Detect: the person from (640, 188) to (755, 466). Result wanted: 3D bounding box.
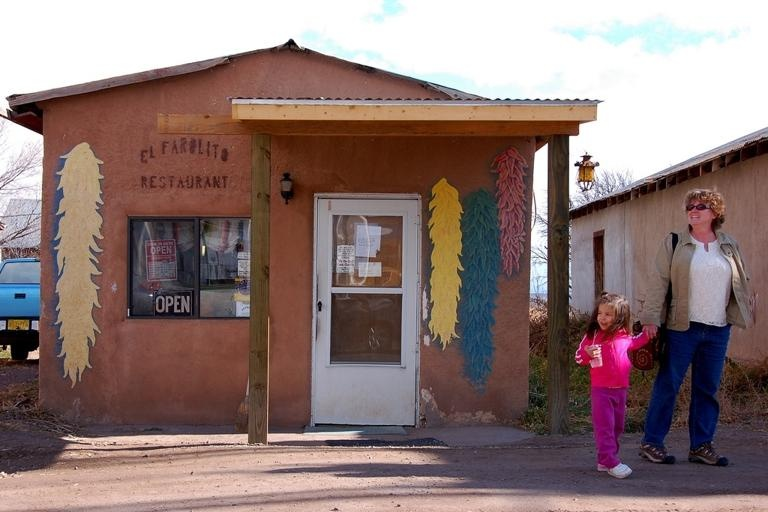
[{"bbox_3d":[3.326,0.763,9.439,1.138,2.927,0.559,0,7,6],"label":"person"}]

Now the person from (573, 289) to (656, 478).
[{"bbox_3d":[2.400,1.340,9.278,0.606,1.884,0.612,6,10,45],"label":"person"}]

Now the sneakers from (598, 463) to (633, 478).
[{"bbox_3d":[2.393,2.242,9.168,0.331,0.132,0.142,-6,-3,38],"label":"sneakers"}]

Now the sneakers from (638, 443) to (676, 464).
[{"bbox_3d":[2.900,2.142,9.523,0.422,0.193,0.156,-2,0,44],"label":"sneakers"}]

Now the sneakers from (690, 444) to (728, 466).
[{"bbox_3d":[3.443,2.152,9.466,0.442,0.200,0.176,-2,-2,32],"label":"sneakers"}]

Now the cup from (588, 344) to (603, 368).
[{"bbox_3d":[2.193,1.055,9.122,0.190,0.232,0.186,0,-12,0],"label":"cup"}]
